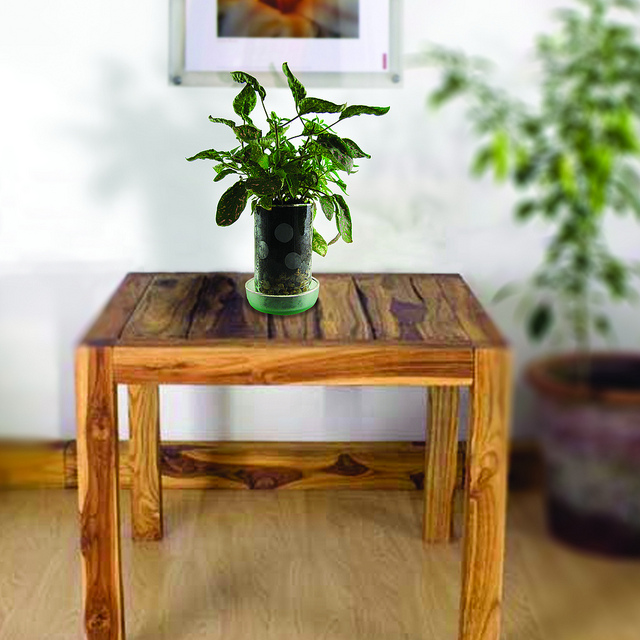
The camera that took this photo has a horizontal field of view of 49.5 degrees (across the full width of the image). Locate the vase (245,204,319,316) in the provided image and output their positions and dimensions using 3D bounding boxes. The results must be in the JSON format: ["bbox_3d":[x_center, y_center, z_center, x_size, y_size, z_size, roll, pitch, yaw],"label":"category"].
[{"bbox_3d":[-0.070,-0.117,1.247,0.133,0.195,0.108,-1,19,-3],"label":"vase"}]

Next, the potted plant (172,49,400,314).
[{"bbox_3d":[-0.035,-0.228,1.241,0.353,0.436,0.397,10,12,43],"label":"potted plant"}]

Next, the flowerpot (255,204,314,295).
[{"bbox_3d":[-0.070,-0.132,1.257,0.100,0.174,0.101,-14,26,-37],"label":"flowerpot"}]
